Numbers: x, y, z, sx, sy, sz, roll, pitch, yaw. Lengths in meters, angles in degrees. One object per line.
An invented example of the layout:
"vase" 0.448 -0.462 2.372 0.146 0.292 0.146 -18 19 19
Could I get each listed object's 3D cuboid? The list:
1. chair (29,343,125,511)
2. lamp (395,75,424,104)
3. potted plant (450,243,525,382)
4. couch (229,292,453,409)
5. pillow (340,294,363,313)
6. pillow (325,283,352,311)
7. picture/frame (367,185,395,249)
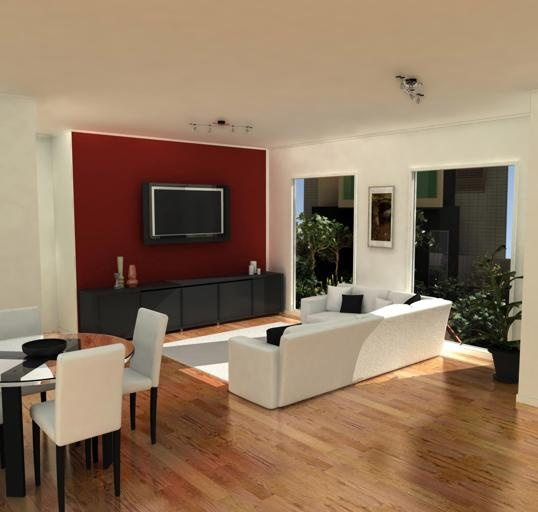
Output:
"chair" -1.176 0.994 2.862 0.493 0.970 0.596 -3 6 -31
"lamp" 1.235 -1.472 3.987 0.224 0.089 0.273 22 -22 24
"potted plant" 2.563 0.603 5.363 0.717 1.422 1.257 2 6 16
"couch" 0.841 0.958 4.906 2.399 0.778 0.596 -3 6 -34
"pillow" 1.179 0.674 6.498 0.267 0.236 0.096 1 -20 24
"pillow" 1.020 0.605 6.677 0.357 0.401 0.160 -5 -37 26
"picture/frame" 1.645 -0.571 6.750 0.097 0.876 0.440 -3 7 -31
